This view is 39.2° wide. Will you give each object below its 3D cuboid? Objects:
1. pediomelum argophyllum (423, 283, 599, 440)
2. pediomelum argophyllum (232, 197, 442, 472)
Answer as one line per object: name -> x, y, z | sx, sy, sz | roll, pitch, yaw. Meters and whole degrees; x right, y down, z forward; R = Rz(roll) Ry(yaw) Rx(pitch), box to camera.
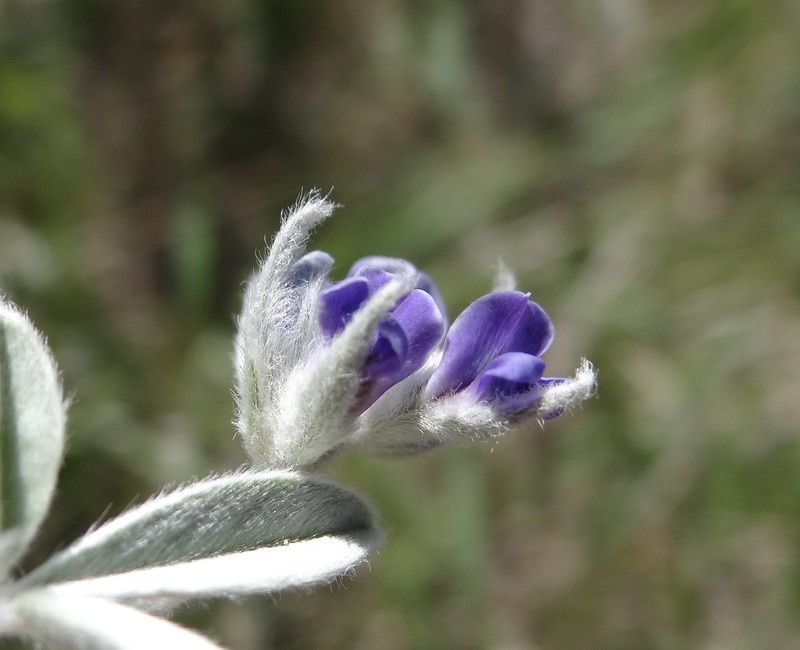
pediomelum argophyllum -> 0.219, 0.099, 2.256 | 0.322, 0.280, 0.163 | 17, 30, -2
pediomelum argophyllum -> -0.121, -0.005, 2.305 | 0.456, 0.251, 0.326 | 36, 10, 30
